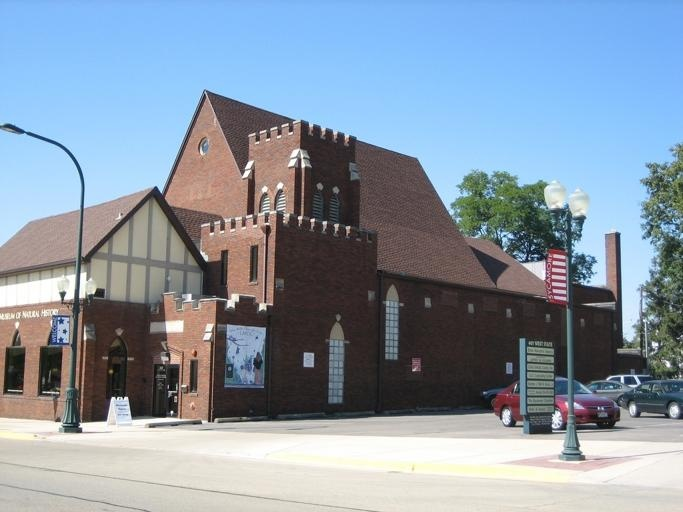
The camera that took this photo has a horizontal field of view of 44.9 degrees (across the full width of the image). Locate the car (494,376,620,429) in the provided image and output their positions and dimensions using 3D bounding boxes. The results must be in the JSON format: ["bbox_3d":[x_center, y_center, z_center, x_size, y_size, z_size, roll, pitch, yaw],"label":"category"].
[{"bbox_3d":[7.877,5.904,32.020,2.135,1.632,4.972,7,-15,-37],"label":"car"}]
